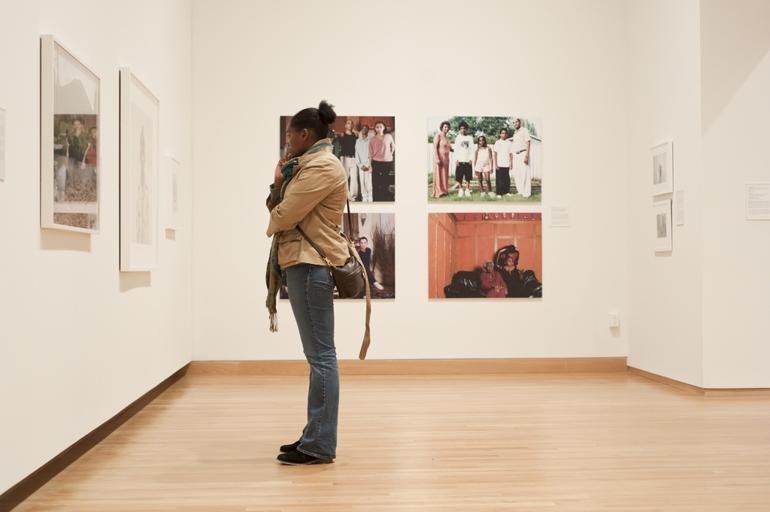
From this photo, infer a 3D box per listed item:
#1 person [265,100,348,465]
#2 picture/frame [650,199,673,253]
[{"bbox_3d":[-0.524,0.183,4.020,0.556,2.500,0.368,0,4,-1],"label":"person"},{"bbox_3d":[2.823,-0.317,5.954,0.431,0.593,0.053,-6,4,-36],"label":"picture/frame"}]
